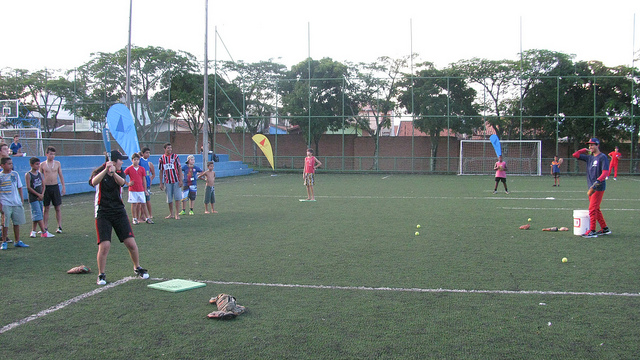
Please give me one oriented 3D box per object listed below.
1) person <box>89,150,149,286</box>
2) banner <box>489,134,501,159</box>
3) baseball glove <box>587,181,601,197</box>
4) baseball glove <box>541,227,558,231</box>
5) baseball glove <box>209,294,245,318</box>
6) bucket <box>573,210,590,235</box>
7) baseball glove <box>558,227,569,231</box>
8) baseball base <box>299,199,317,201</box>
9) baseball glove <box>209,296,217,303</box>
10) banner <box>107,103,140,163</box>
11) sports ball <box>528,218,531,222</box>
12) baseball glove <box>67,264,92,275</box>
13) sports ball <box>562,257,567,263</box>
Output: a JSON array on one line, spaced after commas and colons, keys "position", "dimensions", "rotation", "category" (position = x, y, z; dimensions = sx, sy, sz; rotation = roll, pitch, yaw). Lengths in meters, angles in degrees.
[{"position": [-4.551, 0.793, 11.753], "dimensions": [0.940, 2.853, 1.074], "rotation": [-4, 9, -20], "category": "person"}, {"position": [10.297, -2.074, 30.902], "dimensions": [0.296, 1.856, 0.579], "rotation": [22, -40, -24], "category": "banner"}, {"position": [7.470, 0.194, 14.465], "dimensions": [0.202, 0.595, 0.158], "rotation": [49, -5, -40], "category": "baseball glove"}, {"position": [6.512, 1.383, 14.926], "dimensions": [0.464, 0.121, 0.128], "rotation": [0, 29, 9], "category": "baseball glove"}, {"position": [-1.842, 2.507, 10.451], "dimensions": [0.498, 0.144, 0.469], "rotation": [-5, 18, -24], "category": "baseball glove"}, {"position": [7.220, 1.186, 14.492], "dimensions": [0.513, 0.639, 0.472], "rotation": [4, 0, 0], "category": "bucket"}, {"position": [6.934, 1.391, 14.937], "dimensions": [0.389, 0.071, 0.203], "rotation": [-5, 8, -31], "category": "baseball glove"}, {"position": [-0.495, 0.807, 20.877], "dimensions": [0.642, 0.015, 0.428], "rotation": [-1, 7, -2], "category": "baseball base"}, {"position": [-2.192, 2.439, 10.825], "dimensions": [0.158, 0.091, 0.174], "rotation": [-1, 7, -4], "category": "baseball glove"}, {"position": [-6.791, -1.644, 18.231], "dimensions": [0.674, 1.865, 2.099], "rotation": [-2, 8, -9], "category": "banner"}, {"position": [6.499, 1.227, 16.372], "dimensions": [0.083, 0.072, 0.097], "rotation": [-2, -7, 33], "category": "sports ball"}, {"position": [-5.470, 2.031, 11.962], "dimensions": [0.392, 0.121, 0.235], "rotation": [0, 0, 3], "category": "baseball glove"}, {"position": [5.789, 1.897, 12.520], "dimensions": [0.113, 0.080, 0.089], "rotation": [19, 32, 33], "category": "sports ball"}]
